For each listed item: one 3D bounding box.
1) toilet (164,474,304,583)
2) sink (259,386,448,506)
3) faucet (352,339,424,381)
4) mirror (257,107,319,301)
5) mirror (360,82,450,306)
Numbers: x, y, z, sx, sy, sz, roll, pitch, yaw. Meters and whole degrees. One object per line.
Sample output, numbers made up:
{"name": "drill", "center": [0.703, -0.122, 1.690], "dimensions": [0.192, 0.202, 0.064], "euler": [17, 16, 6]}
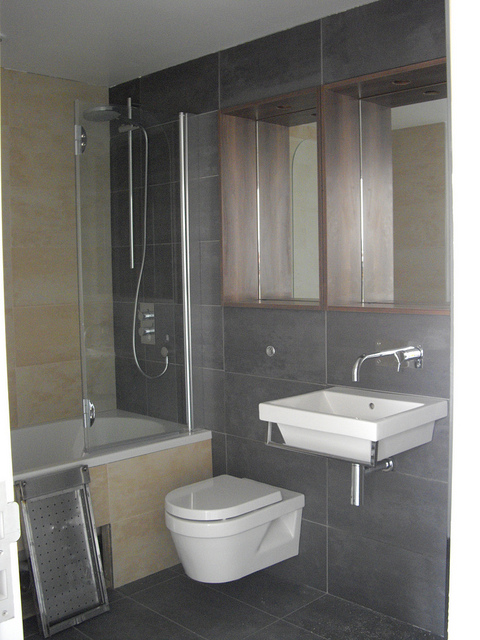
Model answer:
{"name": "toilet", "center": [-0.030, 0.939, 2.524], "dimensions": [0.420, 0.396, 0.514], "euler": [-1, -1, 45]}
{"name": "sink", "center": [0.450, 0.582, 2.205], "dimensions": [0.543, 0.543, 0.630], "euler": [-3, 0, -44]}
{"name": "faucet", "center": [0.600, 0.141, 2.164], "dimensions": [0.206, 0.116, 0.202], "euler": [-5, 7, -39]}
{"name": "mirror", "center": [0.235, -0.586, 2.838], "dimensions": [0.071, 0.990, 0.440], "euler": [-3, 2, -39]}
{"name": "mirror", "center": [0.709, -0.580, 2.413], "dimensions": [0.389, 1.156, 0.114], "euler": [-2, -12, 22]}
